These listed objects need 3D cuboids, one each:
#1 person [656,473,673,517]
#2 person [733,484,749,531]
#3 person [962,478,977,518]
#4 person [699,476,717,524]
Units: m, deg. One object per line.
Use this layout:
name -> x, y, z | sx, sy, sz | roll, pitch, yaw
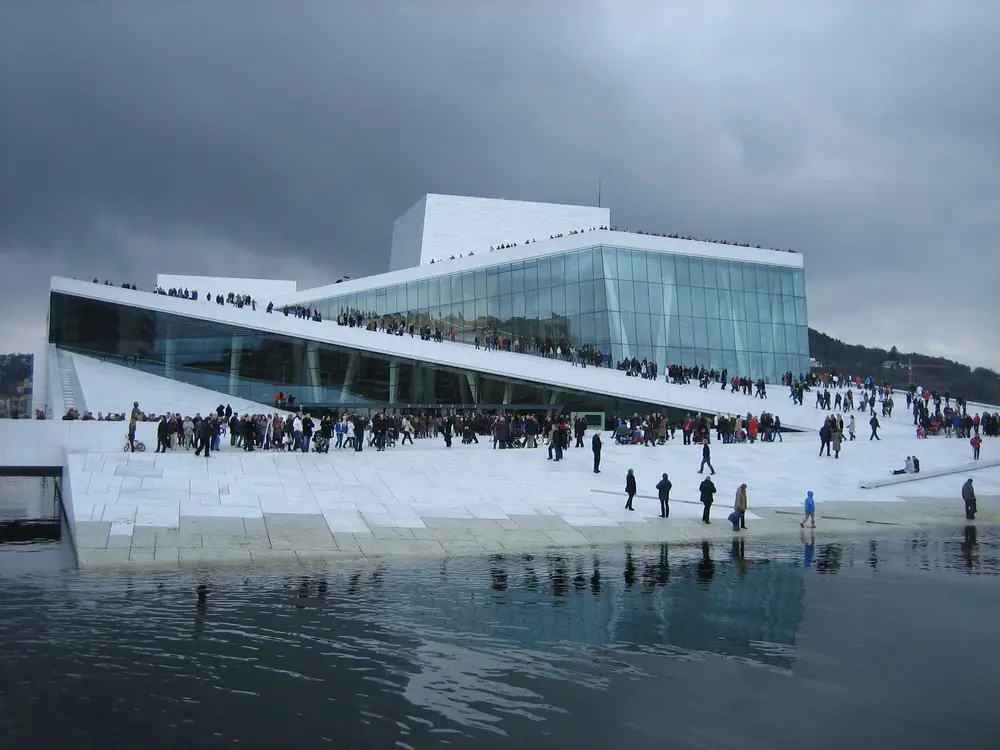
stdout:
person -> 4.880, 3.555, 25.595 | 0.344, 1.330, 1.331 | 2, 2, 11
person -> 6.899, 3.737, 24.771 | 0.313, 1.361, 1.838 | 2, 2, 16
person -> 14.996, 3.936, 27.530 | 0.344, 1.344, 1.639 | 3, 3, 29
person -> 6.104, 3.658, 25.423 | 0.338, 1.340, 1.546 | 2, 2, 15
